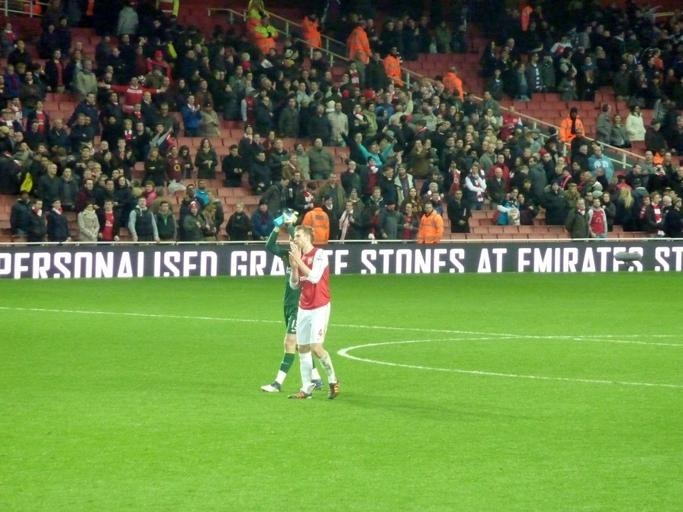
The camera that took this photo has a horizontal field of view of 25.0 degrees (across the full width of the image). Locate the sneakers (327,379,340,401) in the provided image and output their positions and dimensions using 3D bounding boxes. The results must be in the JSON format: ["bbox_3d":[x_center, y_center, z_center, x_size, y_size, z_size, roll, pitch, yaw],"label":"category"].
[{"bbox_3d":[-0.124,2.449,27.308,0.159,0.363,0.126,1,16,-19],"label":"sneakers"}]

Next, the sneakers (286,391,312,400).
[{"bbox_3d":[-0.722,2.514,27.162,0.395,0.171,0.145,3,-2,0],"label":"sneakers"}]

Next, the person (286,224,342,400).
[{"bbox_3d":[-0.479,1.057,26.958,0.873,3.093,0.547,1,11,-1],"label":"person"}]

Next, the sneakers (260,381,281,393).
[{"bbox_3d":[-1.280,2.430,27.613,0.403,0.204,0.156,1,0,6],"label":"sneakers"}]
